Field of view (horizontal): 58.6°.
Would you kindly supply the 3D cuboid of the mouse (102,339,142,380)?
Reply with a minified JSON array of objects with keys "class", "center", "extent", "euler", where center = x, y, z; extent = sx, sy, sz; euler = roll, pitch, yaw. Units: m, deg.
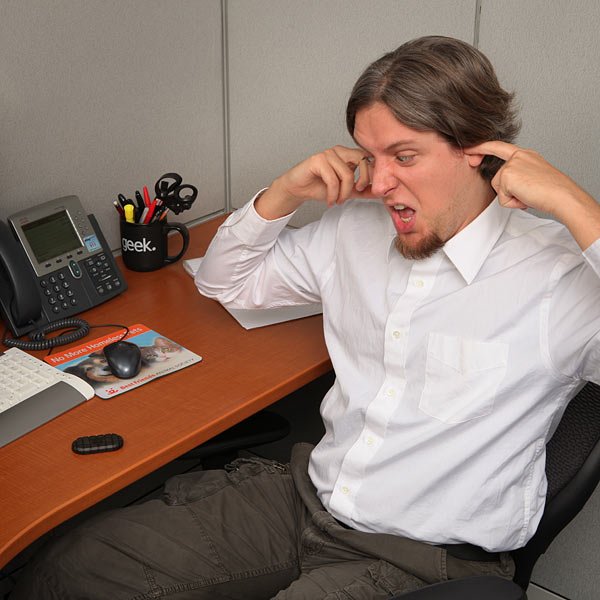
[{"class":"mouse","center":[-0.340,0.105,1.022],"extent":[0.067,0.029,0.104],"euler":[-3,41,-30]}]

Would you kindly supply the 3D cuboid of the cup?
[{"class":"cup","center":[-0.397,-0.157,1.418],"extent":[0.194,0.131,0.119],"euler":[4,24,4]}]
